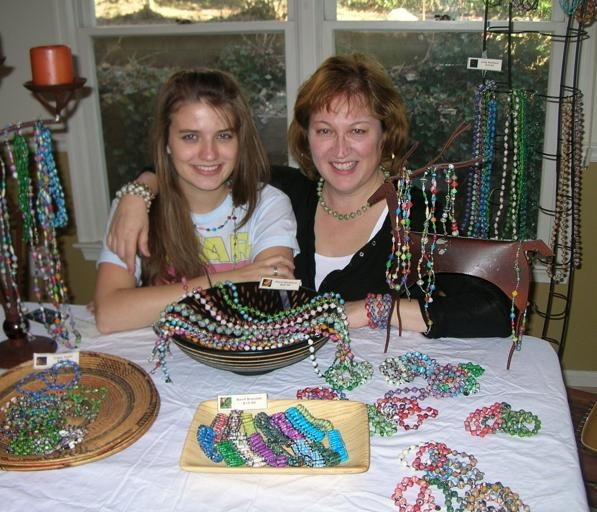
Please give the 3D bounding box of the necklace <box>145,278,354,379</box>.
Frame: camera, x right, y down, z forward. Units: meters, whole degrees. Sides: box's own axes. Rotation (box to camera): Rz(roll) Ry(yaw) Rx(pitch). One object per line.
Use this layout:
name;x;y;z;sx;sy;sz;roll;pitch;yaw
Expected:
necklace;-0.122;0.117;1.383;0.394;0.146;0.331;-4;14;-23

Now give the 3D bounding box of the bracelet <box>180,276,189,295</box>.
bracelet;-0.380;0.098;1.698;0.013;0.051;0.050;-9;-6;-5

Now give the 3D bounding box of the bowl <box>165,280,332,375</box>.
bowl;-0.101;0.217;1.460;0.478;0.157;0.488;6;16;-2

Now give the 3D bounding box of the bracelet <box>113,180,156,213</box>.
bracelet;-0.595;-0.236;1.906;0.106;0.050;0.117;13;26;-4

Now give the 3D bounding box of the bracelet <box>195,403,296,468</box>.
bracelet;-0.145;0.409;1.181;0.138;0.028;0.141;1;20;-3

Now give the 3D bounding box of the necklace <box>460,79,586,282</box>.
necklace;1.019;-0.384;2.491;0.755;1.207;0.310;-1;6;7

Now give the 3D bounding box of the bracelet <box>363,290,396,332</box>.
bracelet;0.254;0.173;1.635;0.084;0.104;0.048;3;21;12

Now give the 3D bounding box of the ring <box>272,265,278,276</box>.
ring;-0.078;0.047;1.751;0.019;0.029;0.027;0;-3;-3

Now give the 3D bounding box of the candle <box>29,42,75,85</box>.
candle;-0.716;-0.565;1.521;0.123;0.119;0.120;-20;37;-27
